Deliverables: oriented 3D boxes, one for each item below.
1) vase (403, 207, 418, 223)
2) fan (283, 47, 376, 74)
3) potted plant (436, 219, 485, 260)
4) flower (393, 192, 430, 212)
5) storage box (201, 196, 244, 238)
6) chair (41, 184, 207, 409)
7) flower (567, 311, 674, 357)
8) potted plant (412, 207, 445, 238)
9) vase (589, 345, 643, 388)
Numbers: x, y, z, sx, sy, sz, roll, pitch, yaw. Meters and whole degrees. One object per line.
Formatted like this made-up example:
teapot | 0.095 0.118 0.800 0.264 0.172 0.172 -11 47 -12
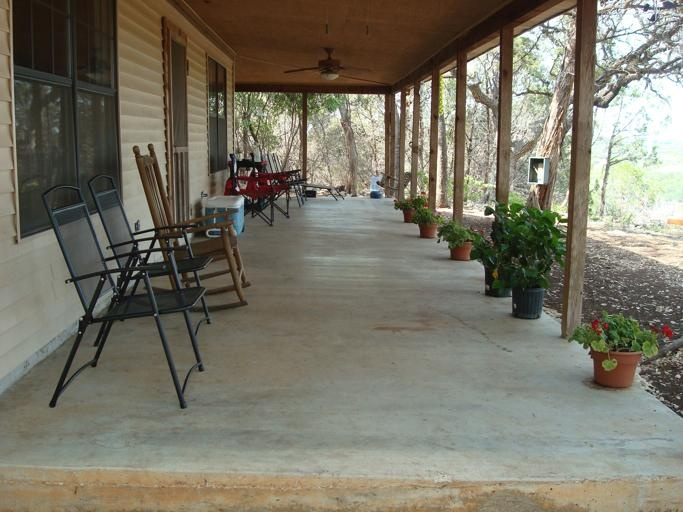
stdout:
vase | 1.138 -0.698 9.142 0.265 0.168 0.238 0 -1 4
fan | -0.252 -3.475 9.524 1.207 0.325 1.145 -2 3 -36
potted plant | 1.329 -0.204 6.077 0.585 0.424 0.489 1 -5 -1
flower | 1.167 -0.892 8.987 0.469 0.200 0.416 -6 6 -5
storage box | -1.712 -0.581 7.562 0.606 0.603 0.990 3 11 -17
chair | -1.184 0.187 3.032 0.909 0.949 0.689 2 9 -14
flower | 1.539 0.419 2.947 0.440 0.146 0.394 13 20 33
potted plant | 1.185 -0.497 7.723 0.526 0.422 0.434 2 -3 -4
vase | 1.473 0.599 2.950 0.262 0.152 0.249 -1 2 -36
